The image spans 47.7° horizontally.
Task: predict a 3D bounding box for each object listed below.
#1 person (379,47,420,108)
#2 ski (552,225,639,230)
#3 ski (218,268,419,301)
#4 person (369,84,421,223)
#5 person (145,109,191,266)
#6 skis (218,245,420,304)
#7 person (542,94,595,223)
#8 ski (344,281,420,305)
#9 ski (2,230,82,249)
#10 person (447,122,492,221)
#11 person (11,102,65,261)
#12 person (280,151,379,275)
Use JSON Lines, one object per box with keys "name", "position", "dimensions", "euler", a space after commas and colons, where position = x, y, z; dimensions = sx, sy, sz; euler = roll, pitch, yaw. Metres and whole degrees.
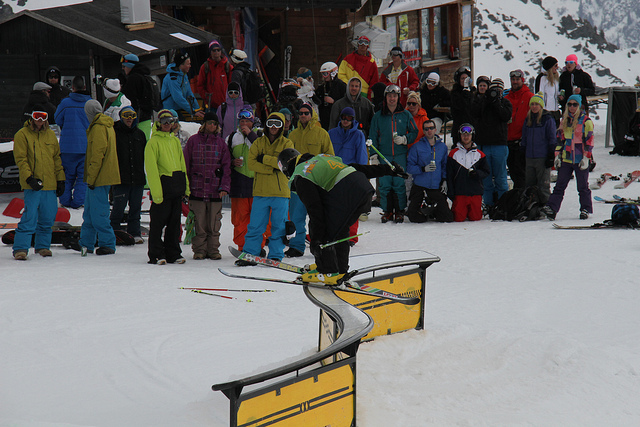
{"name": "person", "position": [1.731, -2.695, 16.157], "dimensions": [0.958, 1.975, 0.547], "euler": [2, 3, 20]}
{"name": "ski", "position": [5.054, 0.243, 13.220], "dimensions": [1.459, 0.041, 0.163], "euler": [0, 5, 1]}
{"name": "ski", "position": [-0.015, 0.965, 9.891], "dimensions": [1.756, 0.116, 0.191], "euler": [10, -10, 8]}
{"name": "person", "position": [1.450, -1.188, 14.272], "dimensions": [0.961, 2.674, 0.589], "euler": [0, 4, 5]}
{"name": "person", "position": [-2.433, -0.435, 11.483], "dimensions": [0.681, 2.435, 0.436], "euler": [-1, 4, -16]}
{"name": "skis", "position": [-0.056, 0.869, 10.112], "dimensions": [1.935, 0.181, 0.228], "euler": [19, 1, 0]}
{"name": "person", "position": [4.845, -1.084, 13.990], "dimensions": [0.849, 2.429, 0.859], "euler": [2, 4, 22]}
{"name": "ski", "position": [0.760, 1.022, 9.429], "dimensions": [0.750, 0.068, 0.103], "euler": [18, 29, 18]}
{"name": "ski", "position": [-4.598, 0.410, 11.916], "dimensions": [1.135, 0.179, 0.291], "euler": [0, 43, -5]}
{"name": "person", "position": [2.896, -0.803, 14.176], "dimensions": [0.783, 1.863, 0.410], "euler": [1, 4, 11]}
{"name": "person", "position": [-4.501, -0.527, 11.518], "dimensions": [0.801, 2.438, 0.465], "euler": [-2, 4, -25]}
{"name": "person", "position": [0.119, 0.061, 10.109], "dimensions": [1.288, 2.291, 0.811], "euler": [-5, 18, -3]}
